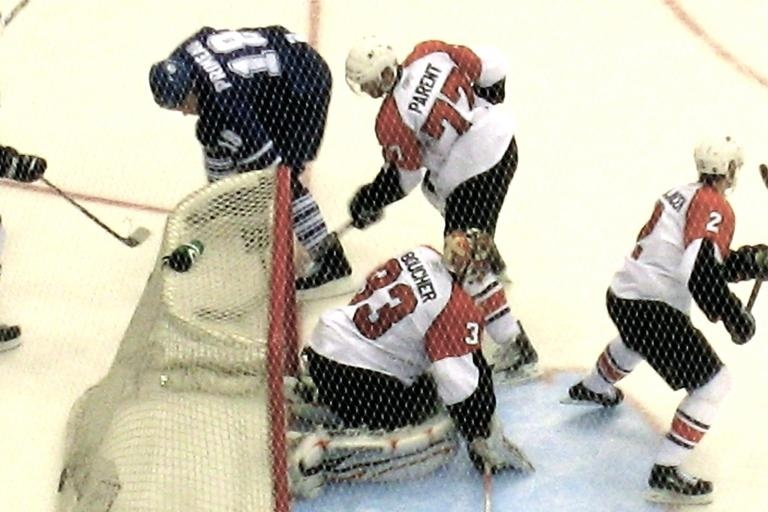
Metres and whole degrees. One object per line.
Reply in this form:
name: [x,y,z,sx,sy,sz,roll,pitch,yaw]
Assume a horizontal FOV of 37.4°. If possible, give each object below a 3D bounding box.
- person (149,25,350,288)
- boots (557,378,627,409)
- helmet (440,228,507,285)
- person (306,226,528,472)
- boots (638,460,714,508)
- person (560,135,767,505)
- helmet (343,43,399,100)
person: [-0.723,-0.543,6.337,0.848,1.548,0.604,0,30,15]
boots: [1.019,0.675,5.527,0.316,0.140,0.121,0,36,8]
helmet: [0.421,-0.010,5.227,0.328,0.246,0.140,1,5,-45]
person: [0.159,0.342,5.542,1.077,0.882,1.200,1,30,-9]
boots: [1.343,1.052,5.223,0.315,0.208,0.155,-2,10,6]
person: [1.385,0.378,5.541,0.836,1.549,1.020,-13,31,-14]
helmet: [-0.109,-0.972,5.695,0.335,0.290,0.342,6,10,-11]
